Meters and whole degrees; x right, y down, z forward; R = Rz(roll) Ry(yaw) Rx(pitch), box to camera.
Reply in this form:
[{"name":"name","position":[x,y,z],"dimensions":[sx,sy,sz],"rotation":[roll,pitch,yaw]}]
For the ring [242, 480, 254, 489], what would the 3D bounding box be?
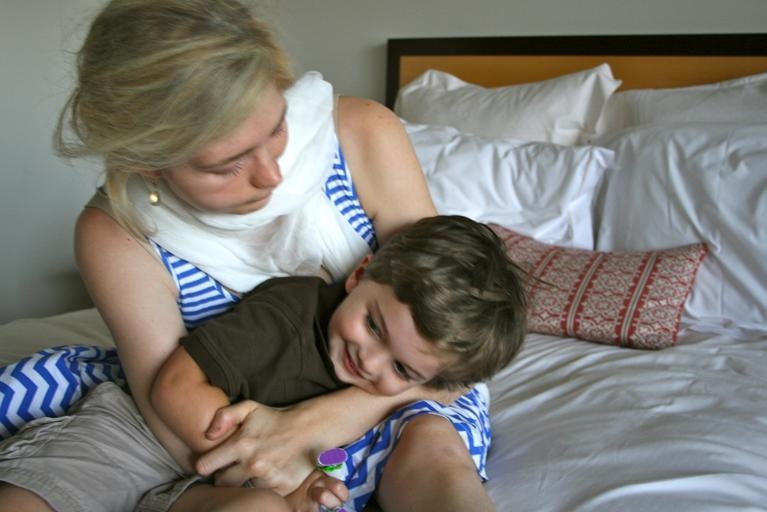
[{"name":"ring","position":[-0.328,0.555,1.707],"dimensions":[0.022,0.022,0.006],"rotation":[-18,32,24]}]
